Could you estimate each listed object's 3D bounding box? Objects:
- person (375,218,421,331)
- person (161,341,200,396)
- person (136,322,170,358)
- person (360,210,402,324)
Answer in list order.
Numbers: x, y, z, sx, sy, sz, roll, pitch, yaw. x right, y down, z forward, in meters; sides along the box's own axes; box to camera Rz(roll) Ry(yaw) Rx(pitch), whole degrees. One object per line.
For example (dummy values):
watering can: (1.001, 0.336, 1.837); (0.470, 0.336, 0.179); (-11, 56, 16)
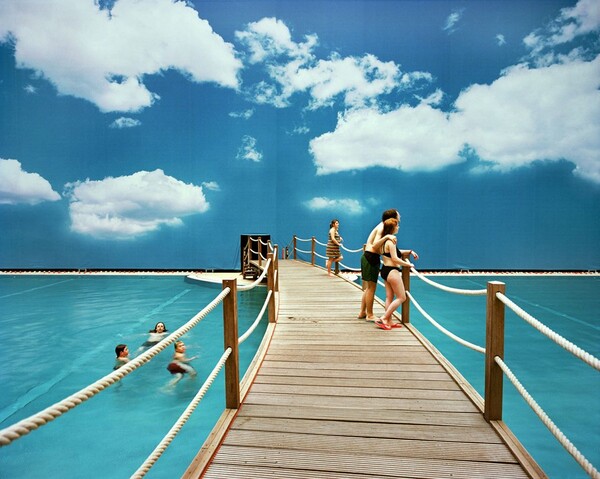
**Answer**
person: (1.783, 0.714, 7.865); (0.640, 2.134, 0.708); (-1, 14, 10)
person: (-2.729, 2.872, 9.524); (0.769, 1.087, 0.523); (-4, 6, 3)
person: (-3.780, 2.677, 10.834); (0.451, 1.096, 0.314); (16, 15, -35)
person: (1.566, 0.525, 8.214); (0.802, 2.148, 0.718); (8, 4, 42)
